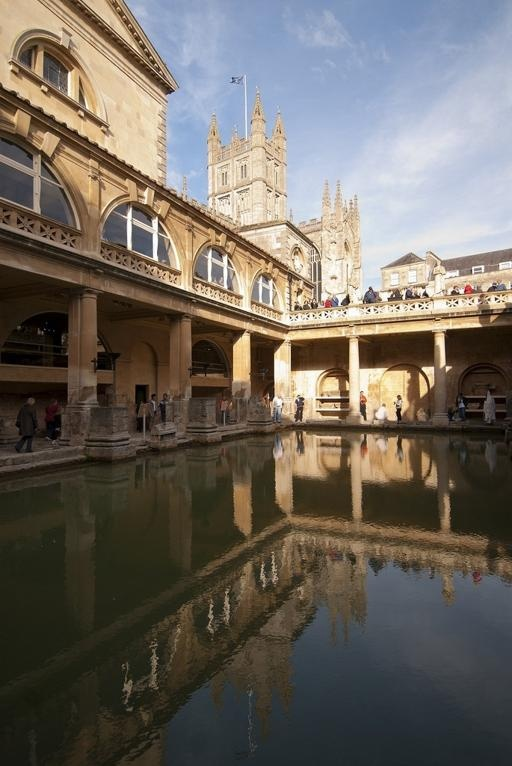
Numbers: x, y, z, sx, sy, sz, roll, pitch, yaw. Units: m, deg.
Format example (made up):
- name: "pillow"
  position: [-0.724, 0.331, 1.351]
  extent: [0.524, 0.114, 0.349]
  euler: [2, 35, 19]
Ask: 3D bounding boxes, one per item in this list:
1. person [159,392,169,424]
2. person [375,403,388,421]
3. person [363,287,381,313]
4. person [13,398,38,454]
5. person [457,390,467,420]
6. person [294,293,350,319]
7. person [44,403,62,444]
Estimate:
- name: "person"
  position: [-2.812, 0.775, 17.440]
  extent: [0.275, 0.857, 0.763]
  euler: [-1, 2, -10]
- name: "person"
  position: [5.746, 1.315, 26.064]
  extent: [0.522, 0.834, 0.464]
  euler: [6, 6, 17]
- name: "person"
  position: [5.066, -3.609, 25.099]
  extent: [0.668, 1.081, 1.318]
  euler: [-1, 2, 11]
- name: "person"
  position: [-4.913, 0.900, 12.173]
  extent: [0.404, 1.193, 1.957]
  euler: [-2, 2, -23]
- name: "person"
  position: [8.714, 0.988, 24.187]
  extent: [0.373, 1.017, 2.378]
  euler: [0, 2, 19]
- name: "person"
  position: [3.309, -3.638, 27.188]
  extent: [1.395, 0.631, 2.150]
  euler: [-3, -2, 21]
- name: "person"
  position: [-5.227, 0.985, 14.699]
  extent: [0.352, 1.083, 1.679]
  euler: [-1, 2, -21]
